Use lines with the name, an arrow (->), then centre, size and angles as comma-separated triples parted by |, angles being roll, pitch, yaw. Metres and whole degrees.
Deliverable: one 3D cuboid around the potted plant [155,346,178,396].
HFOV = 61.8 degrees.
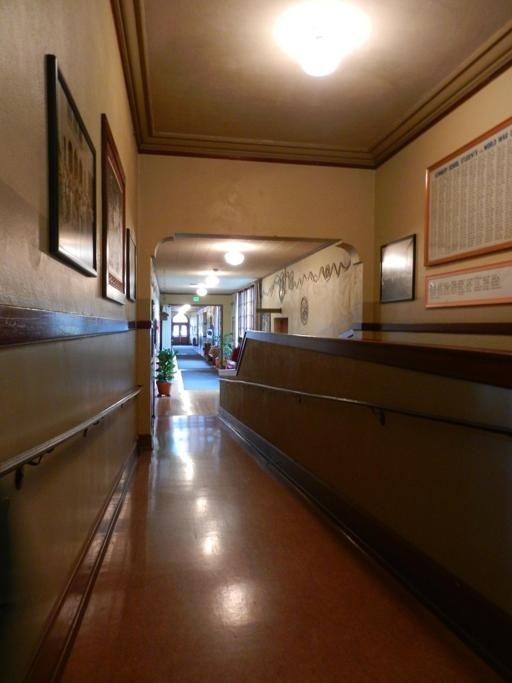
potted plant -> -2.170, 0.742, 10.234 | 0.437, 0.751, 1.103 | 1, -2, -14
